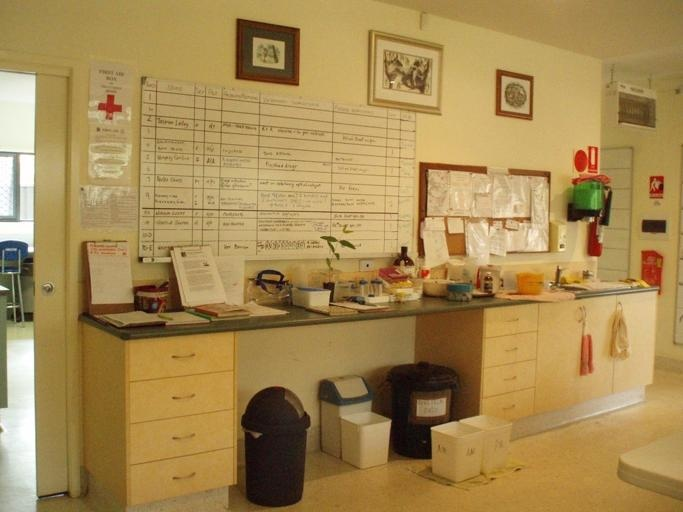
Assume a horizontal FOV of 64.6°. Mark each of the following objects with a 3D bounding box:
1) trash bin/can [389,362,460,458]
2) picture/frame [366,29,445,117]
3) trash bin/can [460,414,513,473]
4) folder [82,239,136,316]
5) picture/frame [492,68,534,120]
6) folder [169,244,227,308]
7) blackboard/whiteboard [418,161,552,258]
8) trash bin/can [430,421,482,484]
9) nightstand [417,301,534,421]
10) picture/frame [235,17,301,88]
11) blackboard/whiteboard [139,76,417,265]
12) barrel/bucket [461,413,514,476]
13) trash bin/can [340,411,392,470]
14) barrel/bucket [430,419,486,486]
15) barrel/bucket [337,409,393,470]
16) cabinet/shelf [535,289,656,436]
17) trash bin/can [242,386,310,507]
[{"bbox_3d":[0.586,1.129,4.202,0.629,0.641,0.566,-2,4,-31],"label":"trash bin/can"},{"bbox_3d":[0.481,-1.455,4.279,0.821,0.580,0.033,0,1,-30],"label":"picture/frame"},{"bbox_3d":[1.005,1.348,3.803,0.378,0.349,0.286,3,-7,-41],"label":"trash bin/can"},{"bbox_3d":[-1.444,0.133,3.362,0.288,0.462,0.051,2,12,-2],"label":"folder"},{"bbox_3d":[1.523,-1.448,4.824,0.542,0.443,0.038,0,1,-36],"label":"picture/frame"},{"bbox_3d":[-0.926,0.131,3.483,0.333,0.365,0.231,-1,7,-20],"label":"folder"},{"bbox_3d":[1.297,-0.378,4.798,1.410,0.794,0.050,-1,5,-20],"label":"blackboard/whiteboard"},{"bbox_3d":[0.768,1.276,3.709,0.422,0.388,0.328,2,-3,-38],"label":"trash bin/can"},{"bbox_3d":[1.142,0.890,4.358,0.798,1.016,0.762,3,-1,21],"label":"nightstand"},{"bbox_3d":[-0.537,-1.420,3.748,0.571,0.465,0.043,-1,2,-28],"label":"picture/frame"},{"bbox_3d":[-0.348,-0.569,3.912,2.098,1.165,0.039,-1,6,-26],"label":"blackboard/whiteboard"},{"bbox_3d":[1.011,1.346,3.788,0.320,0.295,0.241,4,-9,-39],"label":"barrel/bucket"},{"bbox_3d":[0.173,1.283,3.813,0.353,0.326,0.343,2,0,-39],"label":"trash bin/can"},{"bbox_3d":[0.771,1.279,3.710,0.421,0.392,0.329,1,-2,-39],"label":"barrel/bucket"},{"bbox_3d":[0.157,1.290,3.914,0.355,0.331,0.346,2,0,0],"label":"barrel/bucket"},{"bbox_3d":[2.088,0.836,4.937,1.674,1.169,0.547,-5,8,-20],"label":"cabinet/shelf"},{"bbox_3d":[-0.414,1.168,3.328,0.413,0.691,0.240,1,7,-7],"label":"trash bin/can"}]
